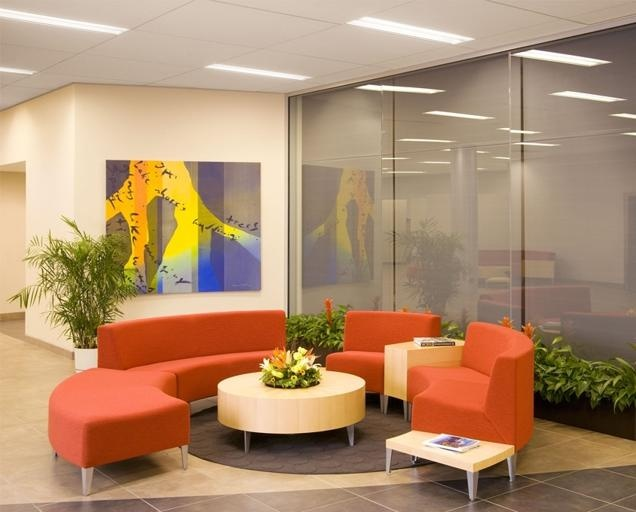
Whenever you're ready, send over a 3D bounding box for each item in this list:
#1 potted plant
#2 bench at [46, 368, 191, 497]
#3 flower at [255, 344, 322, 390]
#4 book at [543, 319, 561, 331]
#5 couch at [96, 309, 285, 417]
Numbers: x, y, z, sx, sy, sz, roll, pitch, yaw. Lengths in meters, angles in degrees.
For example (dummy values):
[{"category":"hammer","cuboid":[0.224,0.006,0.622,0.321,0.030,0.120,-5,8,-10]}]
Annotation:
[{"category":"potted plant","cuboid":[-3.446,0.637,7.056,1.556,1.879,1.380,-8,-4,-9]},{"category":"bench","cuboid":[-1.714,1.453,4.132,0.987,0.506,1.117,7,-6,-44]},{"category":"flower","cuboid":[-0.277,1.089,4.837,0.663,0.276,0.679,-11,8,-41]},{"category":"book","cuboid":[2.646,0.796,5.662,0.139,0.094,0.149,1,-3,-45]},{"category":"couch","cuboid":[-1.200,1.153,5.804,0.850,0.819,2.499,2,-1,40]}]
